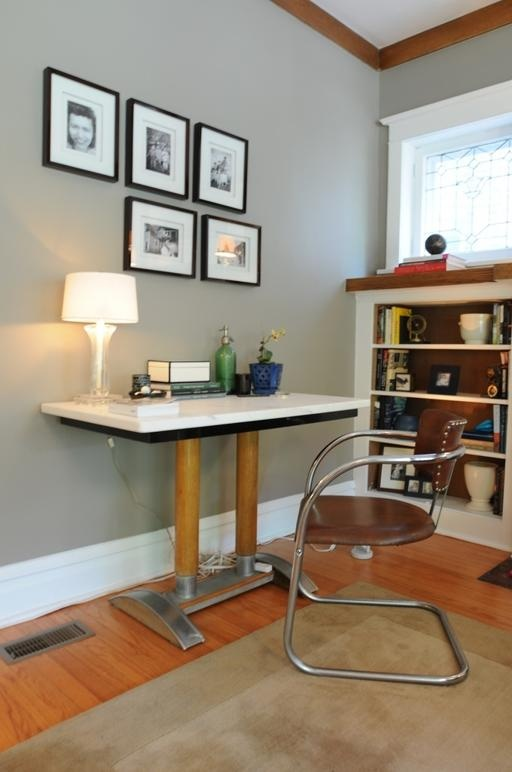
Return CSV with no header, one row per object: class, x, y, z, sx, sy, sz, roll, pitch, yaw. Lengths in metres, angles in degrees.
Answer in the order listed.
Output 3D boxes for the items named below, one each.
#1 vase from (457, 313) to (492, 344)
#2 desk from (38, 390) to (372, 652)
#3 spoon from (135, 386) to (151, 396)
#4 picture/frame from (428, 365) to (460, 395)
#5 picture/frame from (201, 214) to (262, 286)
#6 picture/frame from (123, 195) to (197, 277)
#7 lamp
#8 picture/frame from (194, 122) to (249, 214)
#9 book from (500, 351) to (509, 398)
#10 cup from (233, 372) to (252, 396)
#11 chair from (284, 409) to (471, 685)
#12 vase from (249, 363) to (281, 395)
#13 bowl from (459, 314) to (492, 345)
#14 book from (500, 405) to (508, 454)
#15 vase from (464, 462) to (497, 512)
vase,1.073,-0.276,2.816,0.141,0.169,0.146,1,-8,12
desk,-0.130,0.405,1.981,0.613,0.713,0.956,5,7,41
spoon,-0.354,0.010,1.763,0.033,0.017,0.048,4,9,26
picture/frame,0.990,-0.032,2.983,0.019,0.187,0.153,23,-16,-37
picture/frame,-0.118,-0.589,2.440,0.036,0.294,0.346,2,3,43
picture/frame,-0.375,-0.569,2.146,0.039,0.343,0.403,4,4,42
lamp,-0.514,-0.153,1.849,0.232,0.410,0.295,0,1,-20
picture/frame,-0.148,-0.913,2.393,0.056,0.328,0.292,1,1,40
book,1.152,-0.050,2.619,0.029,0.214,0.128,1,1,20
cup,-0.055,-0.005,2.292,0.055,0.090,0.091,-1,0,9
chair,0.347,0.443,1.745,0.644,0.696,0.654,-1,3,-21
vase,0.033,-0.027,2.410,0.125,0.134,0.130,-3,-2,35
bowl,1.085,-0.281,2.792,0.147,0.177,0.152,4,-7,1
book,1.146,0.202,2.628,0.016,0.216,0.040,0,1,-41
vase,1.136,0.505,2.869,0.154,0.239,0.161,-2,1,15
